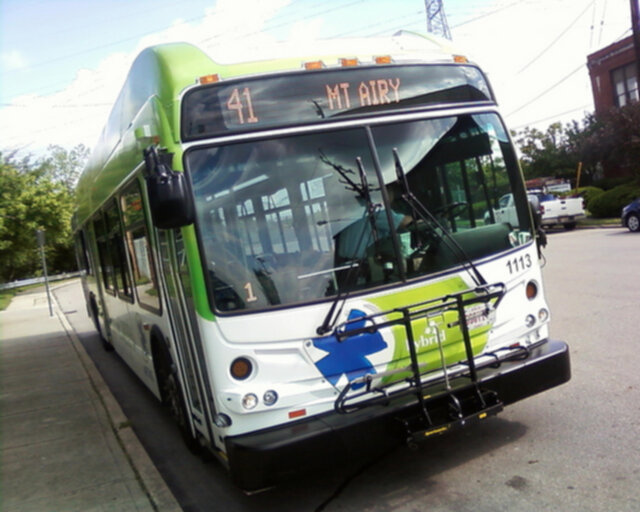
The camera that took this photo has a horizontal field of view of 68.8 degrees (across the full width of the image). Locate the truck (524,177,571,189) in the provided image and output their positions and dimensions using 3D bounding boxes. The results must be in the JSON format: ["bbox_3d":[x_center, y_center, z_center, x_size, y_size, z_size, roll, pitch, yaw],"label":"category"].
[{"bbox_3d":[17.140,-5.483,35.204,1.622,0.493,6.893,19,19,29],"label":"truck"}]
